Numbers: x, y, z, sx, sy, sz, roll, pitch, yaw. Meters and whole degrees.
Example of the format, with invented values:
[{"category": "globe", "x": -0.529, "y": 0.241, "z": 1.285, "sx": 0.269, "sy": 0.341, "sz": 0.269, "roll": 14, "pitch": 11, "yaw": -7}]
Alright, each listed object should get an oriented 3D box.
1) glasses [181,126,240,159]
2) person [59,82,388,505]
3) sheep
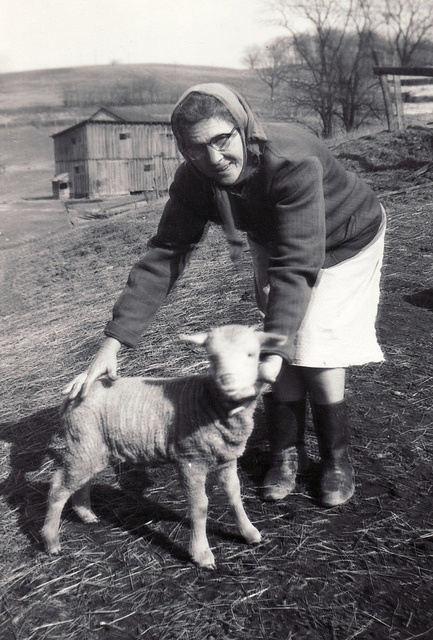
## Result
[{"category": "glasses", "x": -0.029, "y": -0.694, "z": 2.532, "sx": 0.224, "sy": 0.098, "sz": 0.090, "roll": 2, "pitch": 13, "yaw": 33}, {"category": "person", "x": 0.203, "y": -0.052, "z": 2.839, "sx": 1.618, "sy": 1.832, "sz": 0.972, "roll": -12, "pitch": 13, "yaw": -35}, {"category": "sheep", "x": -0.199, "y": 0.521, "z": 2.665, "sx": 1.074, "sy": 1.063, "sz": 0.468, "roll": 1, "pitch": 14, "yaw": 31}]
